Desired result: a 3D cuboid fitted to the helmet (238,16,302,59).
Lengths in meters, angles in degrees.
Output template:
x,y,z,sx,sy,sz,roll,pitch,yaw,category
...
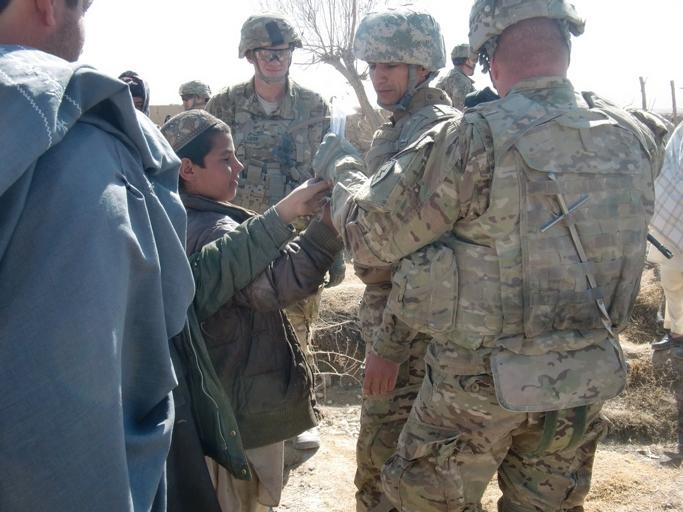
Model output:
x,y,z,sx,sy,sz,roll,pitch,yaw,category
-0.564,-1.605,5.163,0.447,0.283,0.480,11,29,26,helmet
